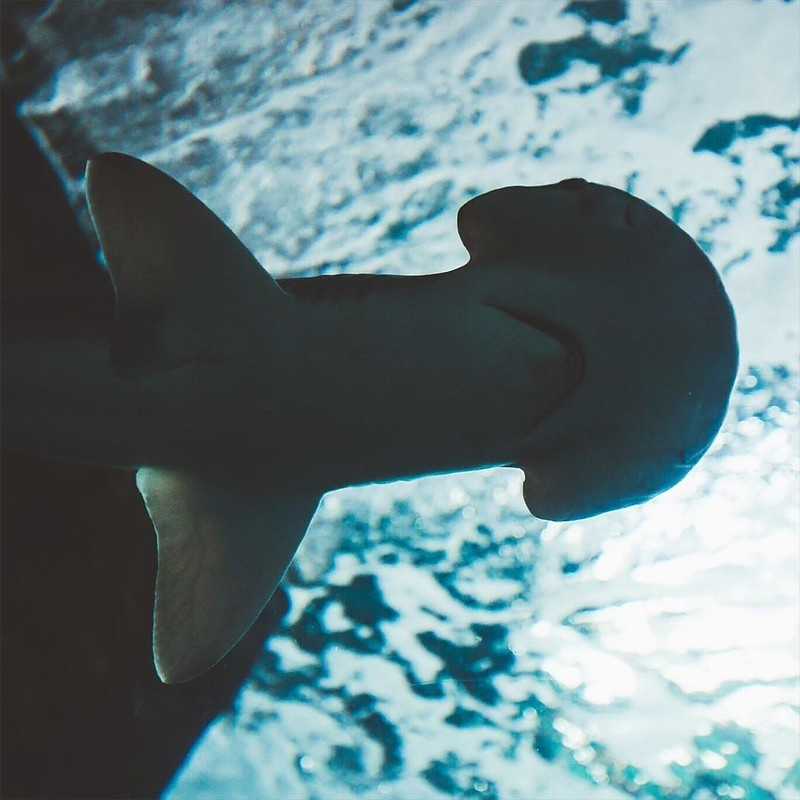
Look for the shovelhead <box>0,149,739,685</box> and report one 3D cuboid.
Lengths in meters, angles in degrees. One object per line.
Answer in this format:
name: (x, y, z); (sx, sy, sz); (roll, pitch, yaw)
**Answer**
shovelhead: (-0.046, -0.051, 1.371); (0.836, 0.469, 0.446); (-20, 53, -1)
